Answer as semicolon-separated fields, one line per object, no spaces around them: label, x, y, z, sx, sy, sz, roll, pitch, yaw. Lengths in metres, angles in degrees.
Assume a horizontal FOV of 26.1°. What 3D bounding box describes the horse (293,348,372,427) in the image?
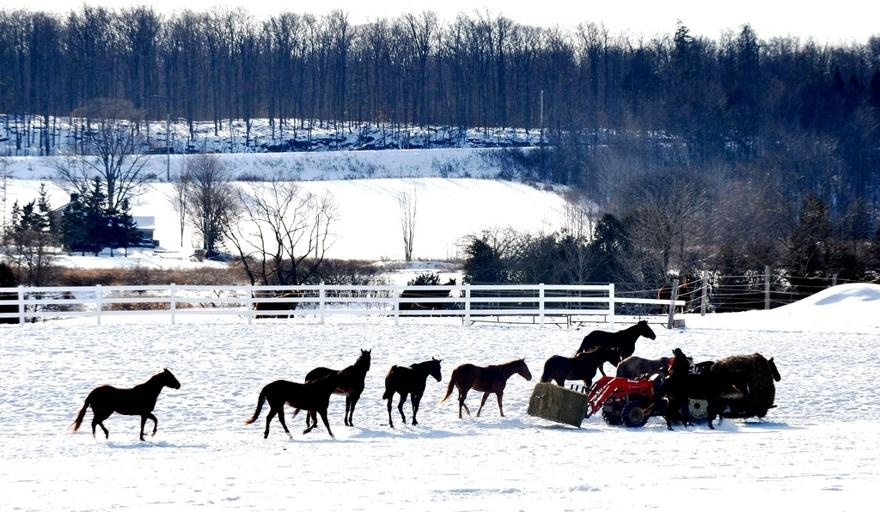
horse;-9.364;12.177;178.140;2.269;6.800;9.368;4;2;40

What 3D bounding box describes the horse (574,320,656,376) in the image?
horse;16.920;8.802;181.384;8.296;5.116;4.011;0;1;-4

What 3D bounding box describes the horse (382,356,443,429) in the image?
horse;-2.544;12.688;180.866;4.662;6.832;5.172;3;1;2

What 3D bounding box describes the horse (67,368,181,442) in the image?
horse;-29.473;13.882;178.614;10.428;6.398;2.369;0;3;-12

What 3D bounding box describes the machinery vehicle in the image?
machinery vehicle;23.491;12.469;178.747;16.125;6.321;0.589;0;0;-1

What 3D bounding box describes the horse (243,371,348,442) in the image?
horse;-13.154;13.708;178.203;7.859;4.790;1.465;0;0;-8

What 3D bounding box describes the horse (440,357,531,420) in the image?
horse;4.360;12.183;180.075;9.081;5.774;2.121;2;2;-22
